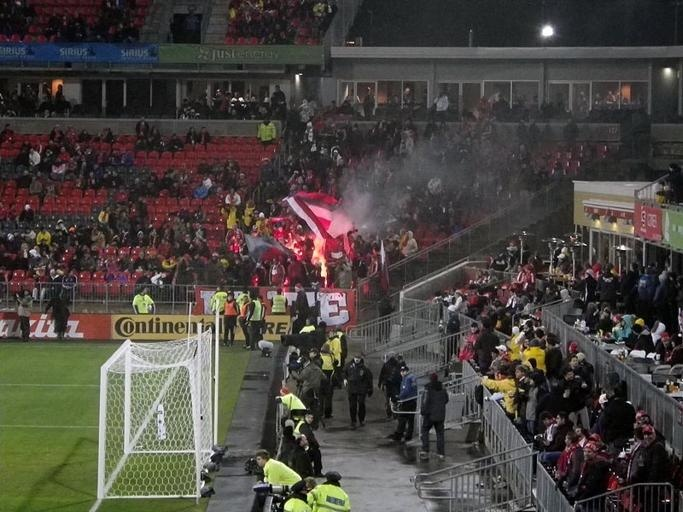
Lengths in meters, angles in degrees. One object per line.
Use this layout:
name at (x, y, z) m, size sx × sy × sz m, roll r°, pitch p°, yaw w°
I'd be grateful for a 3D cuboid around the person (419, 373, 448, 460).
person at (2.781, 4.822, 42.131) m, size 0.833 × 2.502 × 0.970 m, roll 0°, pitch 1°, yaw 8°

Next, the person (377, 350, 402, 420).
person at (1.519, 4.157, 44.713) m, size 0.451 × 2.079 × 0.698 m, roll 0°, pitch 7°, yaw -8°

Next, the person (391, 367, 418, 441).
person at (1.948, 4.688, 43.654) m, size 0.526 × 2.178 × 0.770 m, roll -1°, pitch 9°, yaw -7°
